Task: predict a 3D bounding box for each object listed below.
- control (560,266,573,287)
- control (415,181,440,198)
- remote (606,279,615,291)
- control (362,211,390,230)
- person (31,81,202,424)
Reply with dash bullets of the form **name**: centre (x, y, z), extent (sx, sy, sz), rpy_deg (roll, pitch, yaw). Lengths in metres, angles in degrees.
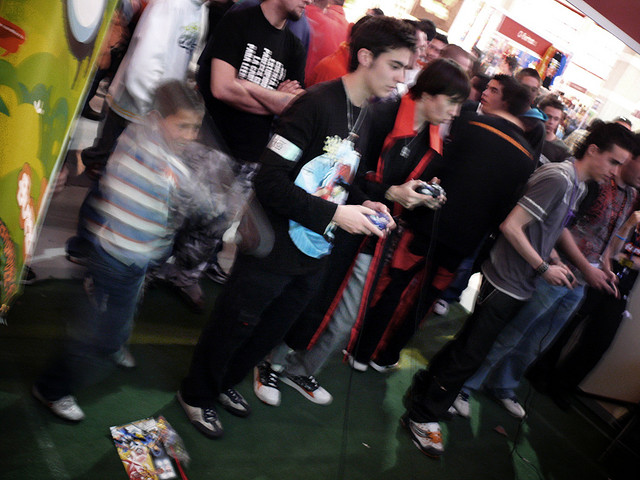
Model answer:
- **control**: centre (0.959, 0.140, 1.724), extent (0.081, 0.026, 0.059), rpy_deg (40, 23, -53)
- **control**: centre (0.297, -0.139, 1.240), extent (0.057, 0.020, 0.040), rpy_deg (14, -1, 11)
- **remote**: centre (1.245, 0.189, 1.921), extent (0.082, 0.020, 0.017), rpy_deg (38, 37, -31)
- **control**: centre (0.157, -0.058, 1.255), extent (0.064, 0.043, 0.016), rpy_deg (23, -5, -35)
- **person**: centre (-0.410, 0.056, 0.907), extent (0.202, 0.772, 0.114), rpy_deg (13, 23, -29)
